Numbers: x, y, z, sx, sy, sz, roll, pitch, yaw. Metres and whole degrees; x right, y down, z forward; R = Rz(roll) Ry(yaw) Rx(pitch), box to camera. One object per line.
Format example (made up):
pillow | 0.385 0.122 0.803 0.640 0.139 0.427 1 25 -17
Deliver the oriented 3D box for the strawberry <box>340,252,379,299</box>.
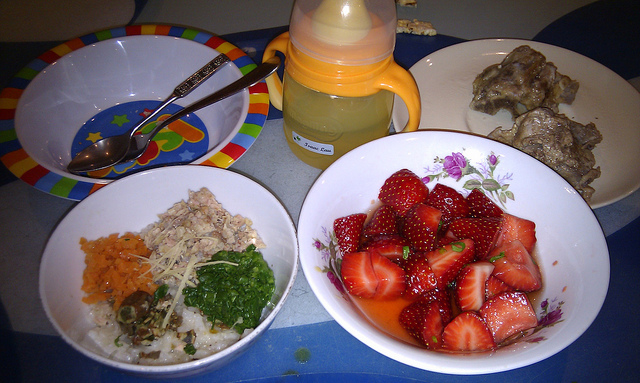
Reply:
strawberry | 0.127 0.266 1.493 0.132 0.075 0.135 49 41 -21

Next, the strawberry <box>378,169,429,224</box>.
strawberry | 0.299 -0.001 1.678 0.194 0.156 0.177 -29 91 -16

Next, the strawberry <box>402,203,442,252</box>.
strawberry | 0.366 0.123 1.593 0.116 0.095 0.157 29 110 17

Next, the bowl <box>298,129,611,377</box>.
bowl | 0.422 0.186 1.523 0.986 0.222 0.803 12 68 3

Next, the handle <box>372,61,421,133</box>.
handle | 0.279 -0.351 1.583 0.229 0.243 0.139 6 45 9

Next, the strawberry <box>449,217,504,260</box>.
strawberry | 0.541 0.156 1.532 0.142 0.098 0.149 6 68 13

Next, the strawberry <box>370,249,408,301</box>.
strawberry | 0.227 0.284 1.520 0.132 0.079 0.146 -9 94 2

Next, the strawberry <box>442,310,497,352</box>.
strawberry | 0.467 0.444 1.421 0.163 0.040 0.117 -7 69 -4

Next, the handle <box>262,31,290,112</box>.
handle | -0.154 -0.455 1.700 0.111 0.308 0.219 -10 69 -5

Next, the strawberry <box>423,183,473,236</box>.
strawberry | 0.445 0.064 1.647 0.169 0.101 0.169 44 86 6

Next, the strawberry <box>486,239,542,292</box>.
strawberry | 0.668 0.254 1.528 0.186 0.075 0.174 28 61 18

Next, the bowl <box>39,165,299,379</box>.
bowl | -0.489 0.225 1.513 0.833 0.157 0.657 -2 68 -2

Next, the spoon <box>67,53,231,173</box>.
spoon | -0.699 -0.315 1.826 0.669 0.075 0.128 -40 75 -15

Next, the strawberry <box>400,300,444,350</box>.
strawberry | 0.336 0.419 1.454 0.129 0.079 0.133 -45 108 -28
